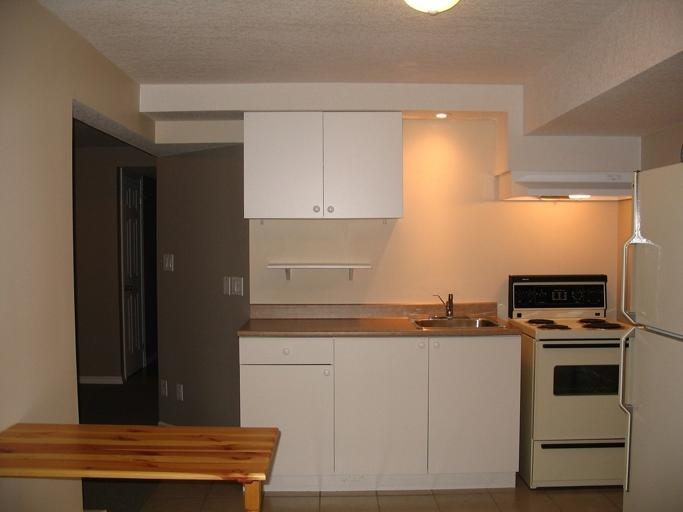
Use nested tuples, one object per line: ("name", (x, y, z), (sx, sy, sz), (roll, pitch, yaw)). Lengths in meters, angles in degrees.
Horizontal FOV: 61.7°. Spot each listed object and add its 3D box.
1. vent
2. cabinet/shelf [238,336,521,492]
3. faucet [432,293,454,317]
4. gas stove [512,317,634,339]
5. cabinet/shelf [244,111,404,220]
("vent", (1.720, -0.545, 4.393), (1.018, 0.243, 0.402), (3, -1, 3))
("cabinet/shelf", (0.274, 1.037, 4.033), (1.946, 0.865, 0.366), (3, -1, -11))
("faucet", (0.849, 0.389, 4.569), (0.138, 0.148, 0.183), (3, -1, -33))
("gas stove", (1.713, 0.543, 4.296), (0.833, 0.099, 0.468), (3, -1, 2))
("cabinet/shelf", (-0.114, -0.701, 4.478), (1.195, 0.792, 0.656), (0, 9, 3))
